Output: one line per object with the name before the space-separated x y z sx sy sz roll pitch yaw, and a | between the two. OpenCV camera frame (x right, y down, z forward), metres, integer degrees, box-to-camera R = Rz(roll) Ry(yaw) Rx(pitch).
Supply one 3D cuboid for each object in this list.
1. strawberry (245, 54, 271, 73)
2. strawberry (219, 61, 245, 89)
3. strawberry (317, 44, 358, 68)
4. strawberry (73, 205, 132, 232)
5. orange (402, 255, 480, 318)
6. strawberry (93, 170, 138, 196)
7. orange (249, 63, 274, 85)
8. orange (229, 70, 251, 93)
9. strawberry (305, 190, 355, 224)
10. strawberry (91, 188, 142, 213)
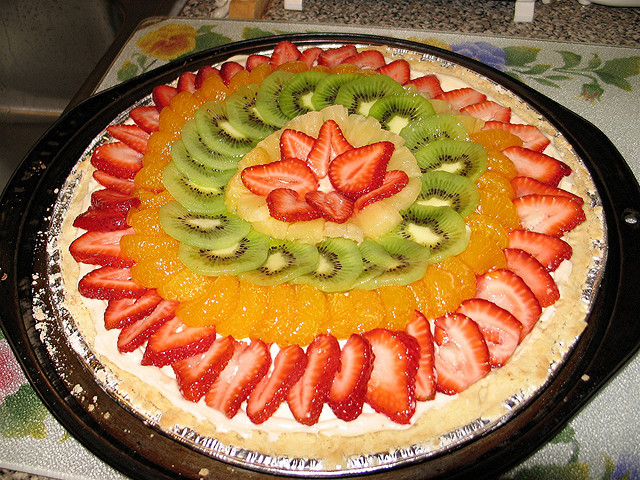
strawberry | -0.410 -1.171 3.750 0.142 0.039 0.144 33 78 17
strawberry | -0.570 -1.092 3.750 0.156 0.091 0.172 -3 70 -5
strawberry | 0.110 -1.200 3.739 0.228 0.058 0.138 -14 64 4
strawberry | -1.189 -0.116 3.163 0.200 0.055 0.160 0 35 -10
orange | 0.622 0.229 2.892 0.380 0.128 0.251 -36 85 -3
strawberry | -1.178 -0.335 3.332 0.231 0.056 0.147 22 36 3
orange | -0.359 -1.040 3.557 0.111 0.080 0.143 24 59 33
orange | -0.485 -0.977 3.575 0.128 0.080 0.148 17 69 12
strawberry | 0.044 -0.193 2.982 0.211 0.049 0.166 32 56 15
strawberry | -1.138 -0.219 3.226 0.203 0.052 0.162 14 40 5
